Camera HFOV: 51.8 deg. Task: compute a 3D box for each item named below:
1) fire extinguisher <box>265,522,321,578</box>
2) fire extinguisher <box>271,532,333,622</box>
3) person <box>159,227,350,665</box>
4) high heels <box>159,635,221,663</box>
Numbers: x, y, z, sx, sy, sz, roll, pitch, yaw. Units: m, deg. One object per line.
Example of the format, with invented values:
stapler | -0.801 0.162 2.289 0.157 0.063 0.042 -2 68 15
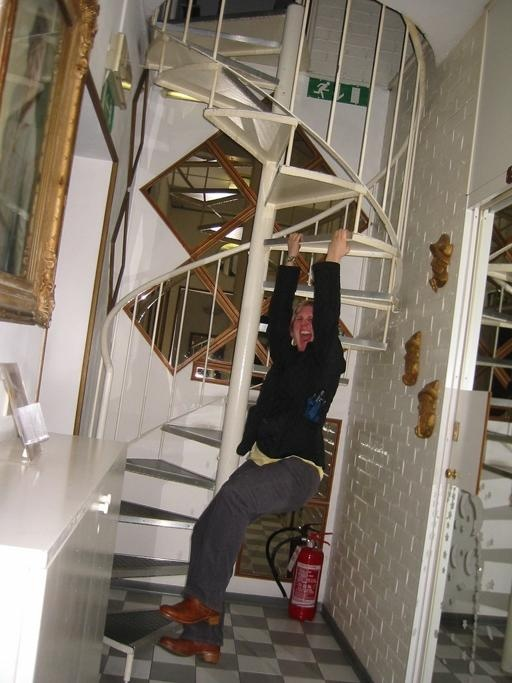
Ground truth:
fire extinguisher | 0.246 1.536 3.823 0.310 0.381 0.135 17 2 -22
fire extinguisher | 0.312 1.624 3.729 0.446 0.688 0.188 4 8 11
person | 0.041 0.354 2.297 0.497 1.947 0.624 5 -10 27
high heels | -0.282 1.215 2.084 0.245 0.113 0.110 13 -9 -24
